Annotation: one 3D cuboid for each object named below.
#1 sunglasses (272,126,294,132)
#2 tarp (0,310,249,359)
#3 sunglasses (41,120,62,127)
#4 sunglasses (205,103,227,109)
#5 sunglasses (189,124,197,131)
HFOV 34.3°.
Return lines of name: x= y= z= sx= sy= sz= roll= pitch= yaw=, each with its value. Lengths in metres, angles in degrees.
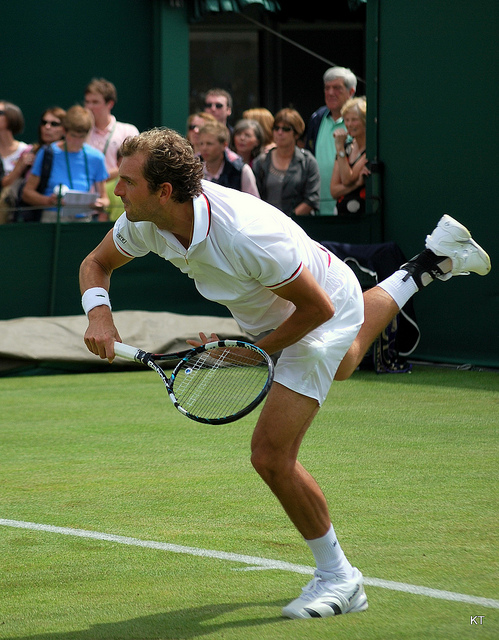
sunglasses: x=0.315 y=-1.716 z=7.251 sx=0.093 sy=0.025 sz=0.092 roll=5 pitch=4 yaw=23
tarp: x=-1.258 y=0.112 z=7.134 sx=1.616 sy=0.228 sz=0.804 roll=0 pitch=7 yaw=-17
sunglasses: x=-2.057 y=-2.049 z=8.392 sx=0.210 sy=0.056 sz=0.107 roll=2 pitch=8 yaw=-3
sunglasses: x=-0.380 y=-2.347 z=8.852 sx=0.229 sy=0.065 sz=0.117 roll=4 pitch=9 yaw=12
sunglasses: x=-0.617 y=-2.092 z=8.741 sx=0.074 sy=0.021 sz=0.094 roll=6 pitch=-24 yaw=6
